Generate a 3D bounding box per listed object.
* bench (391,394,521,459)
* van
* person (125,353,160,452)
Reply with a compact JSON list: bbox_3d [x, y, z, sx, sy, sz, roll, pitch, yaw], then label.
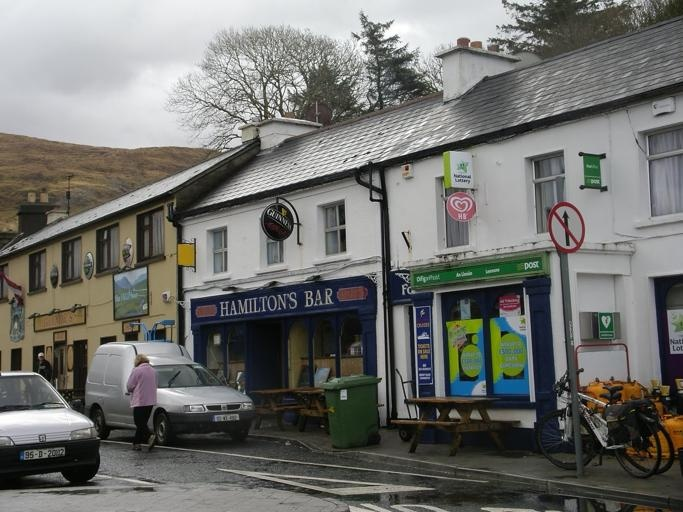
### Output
[{"bbox_3d":[2.319,3.373,18.603,2.268,1.108,1.293,-2,-8,4],"label":"bench"},{"bbox_3d":[-4.093,3.194,21.910,2.123,2.010,3.882,5,-8,-39],"label":"van"},{"bbox_3d":[-4.367,3.147,20.268,0.629,2.044,1.325,0,-8,-11],"label":"person"}]
